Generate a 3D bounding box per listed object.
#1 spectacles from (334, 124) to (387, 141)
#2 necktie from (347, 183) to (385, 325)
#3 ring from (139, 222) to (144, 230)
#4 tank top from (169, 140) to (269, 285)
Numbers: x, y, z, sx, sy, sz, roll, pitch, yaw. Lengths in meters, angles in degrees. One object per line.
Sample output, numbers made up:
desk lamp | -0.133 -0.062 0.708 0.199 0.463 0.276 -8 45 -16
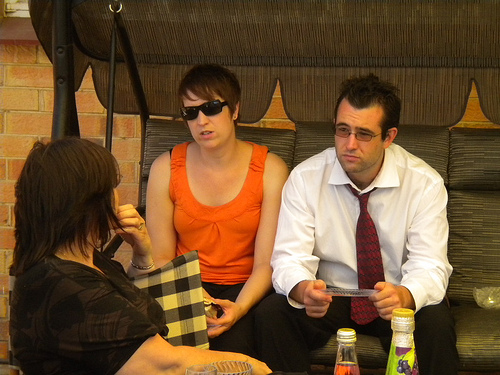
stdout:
spectacles | 0.429 -0.212 1.883 0.175 0.060 0.064 -2 6 16
necktie | 0.472 0.275 1.942 0.142 0.583 0.124 -2 6 14
ring | -0.390 0.137 1.691 0.005 0.022 0.022 18 -2 2
tank top | -0.128 0.102 2.284 0.569 0.893 0.466 0 2 3
